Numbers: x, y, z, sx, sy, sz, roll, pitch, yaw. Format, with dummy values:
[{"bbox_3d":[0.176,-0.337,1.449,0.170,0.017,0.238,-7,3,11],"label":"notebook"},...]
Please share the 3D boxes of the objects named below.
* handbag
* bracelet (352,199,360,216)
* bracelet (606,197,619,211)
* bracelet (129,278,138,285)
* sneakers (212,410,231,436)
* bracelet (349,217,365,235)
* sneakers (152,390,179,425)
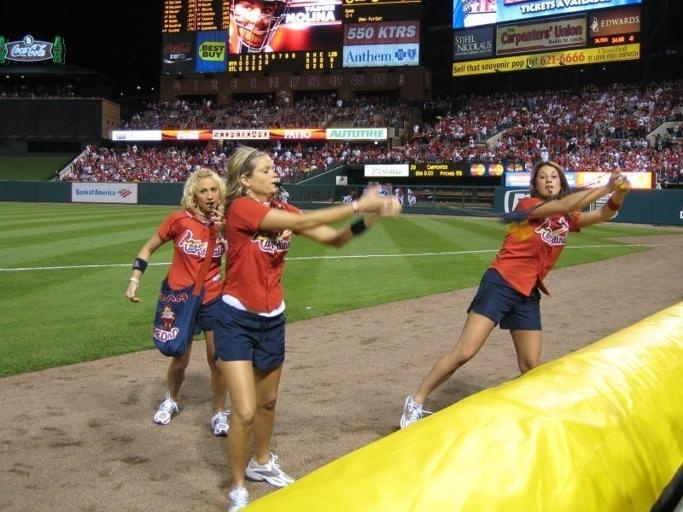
[{"bbox_3d":[-1.295,0.523,4.510,0.405,0.590,0.361,1,13,11],"label":"handbag"},{"bbox_3d":[0.071,-0.276,3.359,0.068,0.072,0.063,-1,10,0],"label":"bracelet"},{"bbox_3d":[2.029,-0.387,4.269,0.092,0.068,0.094,-4,28,3],"label":"bracelet"},{"bbox_3d":[-1.707,0.218,4.656,0.066,0.049,0.062,18,0,-7],"label":"bracelet"},{"bbox_3d":[-0.960,1.328,4.488,0.138,0.136,0.329,-1,-11,-19],"label":"sneakers"},{"bbox_3d":[0.101,-0.187,3.529,0.097,0.119,0.140,-1,13,1],"label":"bracelet"},{"bbox_3d":[-1.464,1.273,4.738,0.130,0.110,0.276,14,3,-4],"label":"sneakers"}]
